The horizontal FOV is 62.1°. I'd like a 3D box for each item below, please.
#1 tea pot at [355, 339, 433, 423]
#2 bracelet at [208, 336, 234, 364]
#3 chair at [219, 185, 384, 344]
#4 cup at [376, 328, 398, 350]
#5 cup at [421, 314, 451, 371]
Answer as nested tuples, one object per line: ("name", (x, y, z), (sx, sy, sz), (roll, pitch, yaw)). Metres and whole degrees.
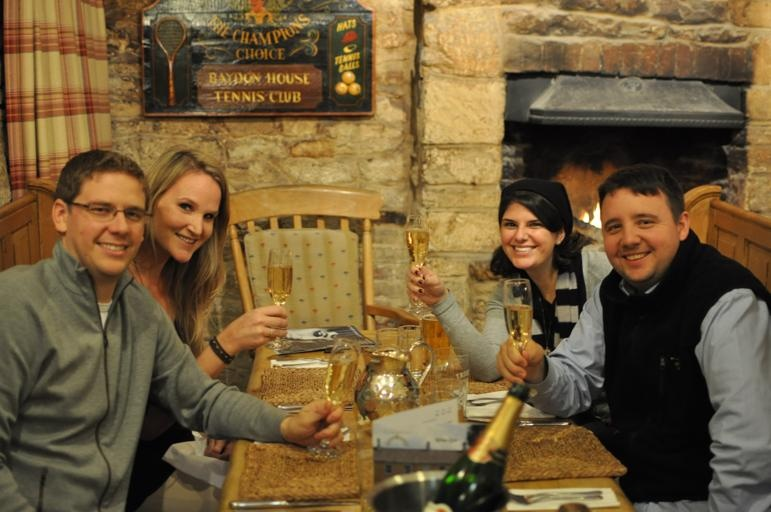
("tea pot", (0.015, 0.370, 1.908), (0.216, 0.205, 0.157), (6, -10, -34))
("bracelet", (-0.627, 0.363, 2.444), (0.036, 0.098, 0.093), (-44, 3, -20))
("chair", (-0.368, -0.024, 3.793), (0.853, 1.114, 0.791), (-3, 5, -13))
("cup", (0.010, 0.310, 2.441), (0.081, 0.060, 0.080), (0, -2, 0))
("cup", (0.181, 0.315, 2.439), (0.111, 0.181, 0.114), (0, 2, 0))
